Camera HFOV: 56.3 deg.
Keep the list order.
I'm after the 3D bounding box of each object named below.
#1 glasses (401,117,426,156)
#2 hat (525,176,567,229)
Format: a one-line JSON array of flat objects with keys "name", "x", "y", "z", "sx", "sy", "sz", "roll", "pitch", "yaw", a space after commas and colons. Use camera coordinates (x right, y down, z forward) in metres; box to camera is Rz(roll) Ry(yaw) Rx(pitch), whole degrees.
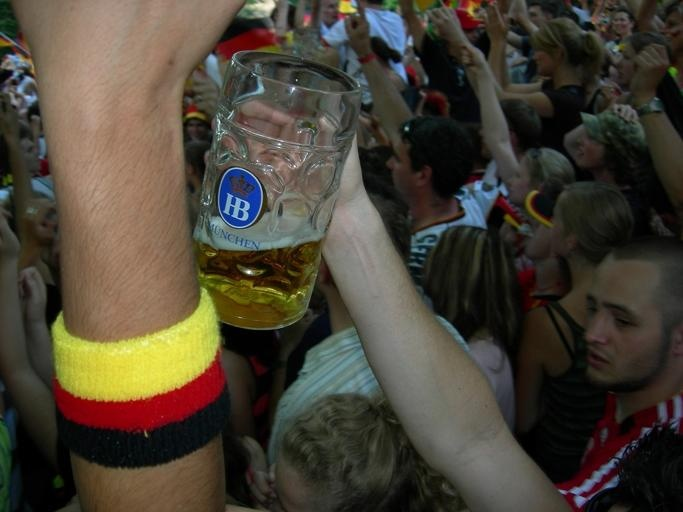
[{"name": "glasses", "x": 0.271, "y": -0.456, "z": 2.416, "sx": 0.033, "sy": 0.118, "sz": 0.115, "roll": 8, "pitch": 27, "yaw": 9}, {"name": "hat", "x": 0.650, "y": -0.172, "z": 2.004, "sx": 0.088, "sy": 0.154, "sz": 0.069, "roll": 25, "pitch": 32, "yaw": 18}]
